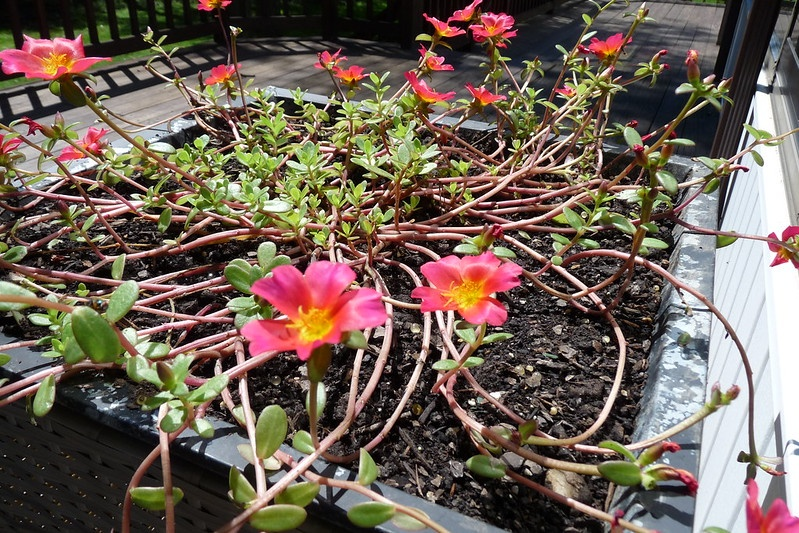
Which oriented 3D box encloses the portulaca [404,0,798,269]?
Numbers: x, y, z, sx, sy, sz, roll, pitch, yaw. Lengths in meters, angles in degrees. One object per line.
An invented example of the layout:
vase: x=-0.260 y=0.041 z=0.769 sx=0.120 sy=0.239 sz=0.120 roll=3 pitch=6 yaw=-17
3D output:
portulaca: x=0.712 y=-0.412 z=1.993 sx=1.350 sy=0.211 sz=1.329 roll=-7 pitch=53 yaw=3

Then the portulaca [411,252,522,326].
portulaca: x=0.129 y=0.040 z=1.069 sx=0.188 sy=0.107 sz=0.176 roll=8 pitch=34 yaw=10
